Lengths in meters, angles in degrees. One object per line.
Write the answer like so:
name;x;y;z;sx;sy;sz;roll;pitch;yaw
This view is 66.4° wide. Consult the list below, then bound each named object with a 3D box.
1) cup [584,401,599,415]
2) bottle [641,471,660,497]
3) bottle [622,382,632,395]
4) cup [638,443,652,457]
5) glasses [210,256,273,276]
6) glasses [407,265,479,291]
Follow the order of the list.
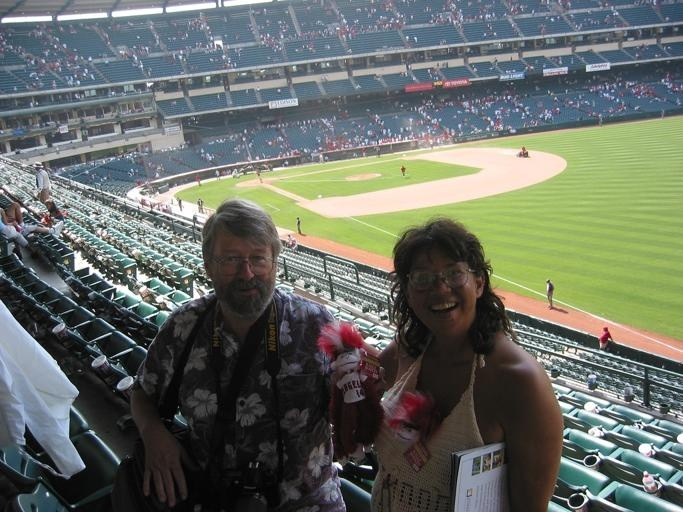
cup;3.572;2.155;7.458;0.174;0.135;0.502;-1;10;25
bottle;2.720;2.019;4.617;0.099;0.248;0.090;-26;27;14
bottle;4.871;2.271;8.938;0.140;0.249;0.143;-1;13;0
cup;3.265;2.097;5.634;0.105;0.097;0.105;-18;23;8
glasses;-0.518;0.044;2.747;0.299;0.107;0.075;-6;9;-5
glasses;0.489;0.102;2.605;0.291;0.121;0.064;-4;9;9
